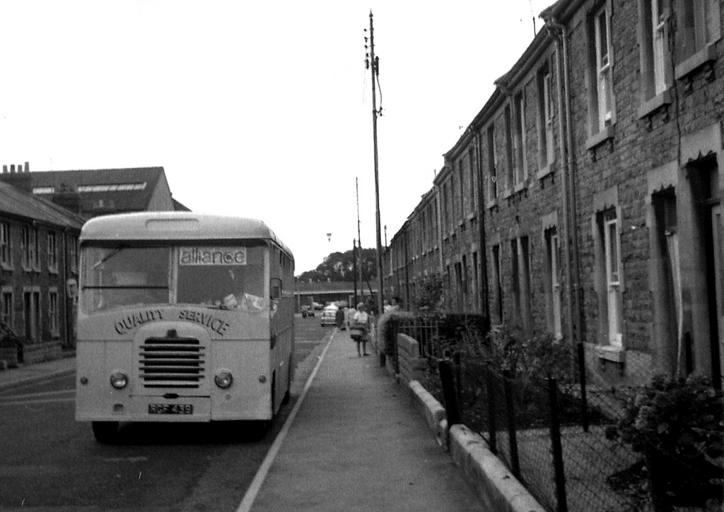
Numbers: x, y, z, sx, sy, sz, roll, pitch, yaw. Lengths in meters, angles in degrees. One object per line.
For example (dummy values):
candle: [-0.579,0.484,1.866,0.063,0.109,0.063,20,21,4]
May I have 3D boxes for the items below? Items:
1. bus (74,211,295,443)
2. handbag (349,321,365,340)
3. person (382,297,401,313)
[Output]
bus: [-2.963,1.290,15.344,2.373,3.025,5.292,0,-5,1]
handbag: [-0.140,2.981,30.586,0.582,0.519,0.678,-1,-35,20]
person: [1.249,2.131,33.985,0.397,0.693,1.199,8,-5,1]
